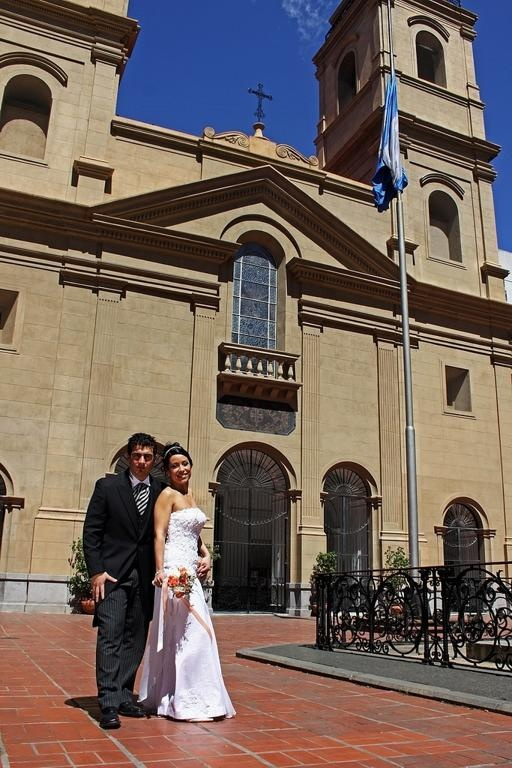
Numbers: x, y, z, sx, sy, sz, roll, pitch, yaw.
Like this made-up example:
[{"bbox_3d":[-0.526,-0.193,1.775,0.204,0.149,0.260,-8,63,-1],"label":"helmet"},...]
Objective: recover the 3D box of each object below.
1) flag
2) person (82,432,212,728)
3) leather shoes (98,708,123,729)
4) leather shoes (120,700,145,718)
[{"bbox_3d":[3.593,-6.901,17.224,0.705,4.663,1.196,4,-17,-3],"label":"flag"},{"bbox_3d":[-0.822,1.210,4.153,0.467,1.782,0.575,-12,-22,40],"label":"person"},{"bbox_3d":[-0.823,1.901,3.587,0.118,0.085,0.205,5,-17,-9],"label":"leather shoes"},{"bbox_3d":[-0.826,2.107,4.087,0.276,0.111,0.103,-19,-31,35],"label":"leather shoes"}]
